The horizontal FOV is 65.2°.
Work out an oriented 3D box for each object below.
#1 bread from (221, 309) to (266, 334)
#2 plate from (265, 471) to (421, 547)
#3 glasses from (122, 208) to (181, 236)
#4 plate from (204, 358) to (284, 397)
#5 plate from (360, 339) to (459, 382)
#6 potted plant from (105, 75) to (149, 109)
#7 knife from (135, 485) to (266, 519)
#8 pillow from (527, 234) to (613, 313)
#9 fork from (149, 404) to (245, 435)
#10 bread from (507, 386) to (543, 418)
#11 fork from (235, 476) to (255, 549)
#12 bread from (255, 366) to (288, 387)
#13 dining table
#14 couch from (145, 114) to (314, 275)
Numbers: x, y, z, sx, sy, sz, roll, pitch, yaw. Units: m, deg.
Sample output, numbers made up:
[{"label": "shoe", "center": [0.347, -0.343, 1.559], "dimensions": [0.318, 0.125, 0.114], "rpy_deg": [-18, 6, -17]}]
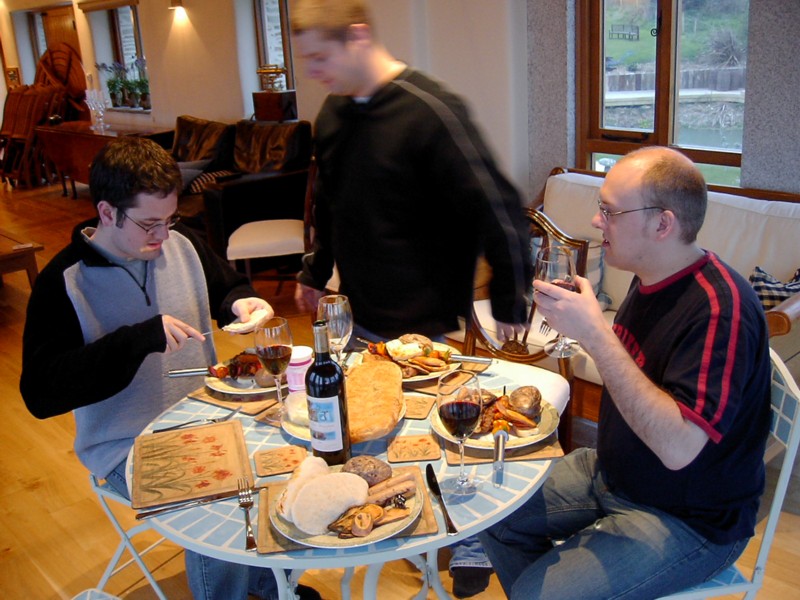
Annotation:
[{"label": "bread", "center": [-0.488, 0.076, 2.026], "dimensions": [0.090, 0.031, 0.095], "rpy_deg": [0, 9, 33]}, {"label": "plate", "center": [-0.134, 0.466, 1.394], "dimensions": [0.365, 0.084, 0.193], "rpy_deg": [0, 18, 4]}, {"label": "glasses", "center": [-0.826, -0.248, 2.025], "dimensions": [0.101, 0.030, 0.097], "rpy_deg": [13, 25, 23]}, {"label": "plate", "center": [-0.481, 0.247, 1.894], "dimensions": [0.139, 0.022, 0.137], "rpy_deg": [6, 20, 12]}, {"label": "plate", "center": [0.036, 0.173, 1.959], "dimensions": [0.177, 0.047, 0.171], "rpy_deg": [-10, 21, -28]}, {"label": "potted plant", "center": [-3.920, -3.002, 9.046], "dimensions": [0.478, 0.331, 0.358], "rpy_deg": [10, 24, 23]}, {"label": "knife", "center": [-0.464, 0.481, 1.476], "dimensions": [0.271, 0.024, 0.030], "rpy_deg": [-9, 43, -11]}, {"label": "pillow", "center": [0.620, -0.102, 2.289], "dimensions": [0.272, 0.401, 0.277], "rpy_deg": [9, 62, 15]}, {"label": "fork", "center": [-0.568, 0.345, 1.791], "dimensions": [0.222, 0.031, 0.031], "rpy_deg": [-9, 7, 7]}, {"label": "bread", "center": [0.339, 0.274, 1.689], "dimensions": [0.067, 0.072, 0.091], "rpy_deg": [2, 3, 9]}, {"label": "fork", "center": [-0.363, 0.467, 1.444], "dimensions": [0.032, 0.027, 0.232], "rpy_deg": [9, 38, -27]}, {"label": "bread", "center": [-0.397, 0.241, 1.942], "dimensions": [0.084, 0.083, 0.082], "rpy_deg": [-1, 30, -4]}, {"label": "dining table", "center": [-0.078, 0.521, 1.645], "dimensions": [0.734, 0.459, 0.694], "rpy_deg": [-3, 33, 4]}, {"label": "couch", "center": [-1.124, -0.752, 4.497], "dimensions": [0.824, 0.990, 1.410], "rpy_deg": [-22, 32, -35]}]
